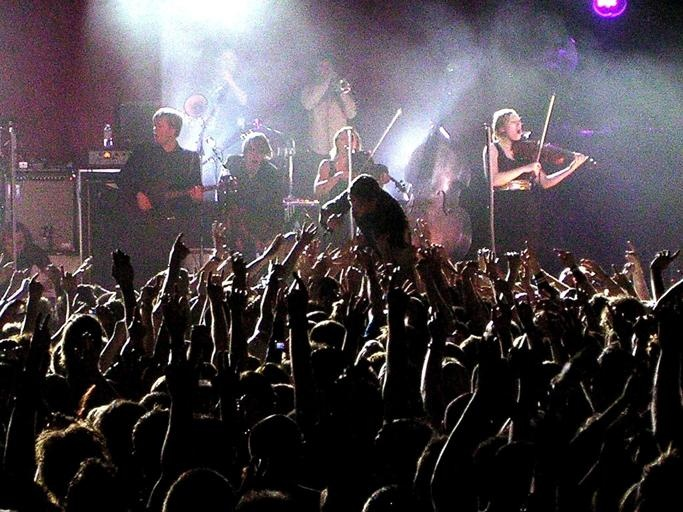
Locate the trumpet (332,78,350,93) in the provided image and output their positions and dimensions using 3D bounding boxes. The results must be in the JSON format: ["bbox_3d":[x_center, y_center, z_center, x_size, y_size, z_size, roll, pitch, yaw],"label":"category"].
[{"bbox_3d":[-0.027,-2.469,9.720,0.224,0.112,0.325,-3,31,-6],"label":"trumpet"}]

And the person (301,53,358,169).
[{"bbox_3d":[-0.213,-2.211,10.049,0.537,1.729,0.621,-6,13,-24],"label":"person"}]
